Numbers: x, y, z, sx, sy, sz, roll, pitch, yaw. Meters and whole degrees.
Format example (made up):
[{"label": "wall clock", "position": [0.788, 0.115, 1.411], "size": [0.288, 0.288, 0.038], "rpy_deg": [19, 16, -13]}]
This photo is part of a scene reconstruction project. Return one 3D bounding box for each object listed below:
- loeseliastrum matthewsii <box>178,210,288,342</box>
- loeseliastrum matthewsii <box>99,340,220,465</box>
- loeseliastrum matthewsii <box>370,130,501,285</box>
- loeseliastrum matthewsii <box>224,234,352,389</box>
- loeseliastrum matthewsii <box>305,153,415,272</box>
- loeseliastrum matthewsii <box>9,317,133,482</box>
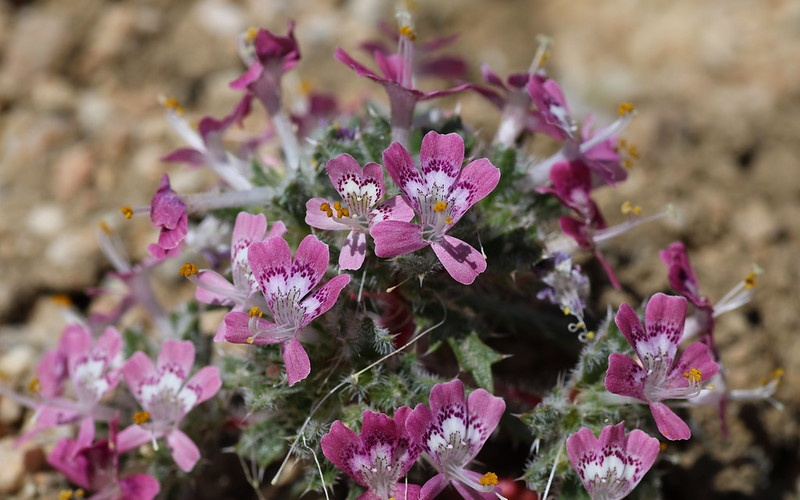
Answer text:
[{"label": "loeseliastrum matthewsii", "position": [-0.948, 0.130, 5.242], "size": [0.620, 0.292, 0.721], "rpy_deg": [-12, 58, 43]}, {"label": "loeseliastrum matthewsii", "position": [-1.333, 0.840, 5.371], "size": [0.609, 0.260, 0.572], "rpy_deg": [31, 77, 24]}, {"label": "loeseliastrum matthewsii", "position": [0.209, -0.277, 5.104], "size": [0.617, 0.401, 0.769], "rpy_deg": [7, 68, 16]}, {"label": "loeseliastrum matthewsii", "position": [-0.628, 0.384, 5.124], "size": [0.688, 0.365, 0.825], "rpy_deg": [2, 83, 16]}, {"label": "loeseliastrum matthewsii", "position": [-0.215, -0.228, 5.201], "size": [0.477, 0.685, 0.271], "rpy_deg": [25, 49, -11]}, {"label": "loeseliastrum matthewsii", "position": [-1.858, 0.938, 5.512], "size": [0.674, 0.360, 0.755], "rpy_deg": [14, 74, 49]}]
